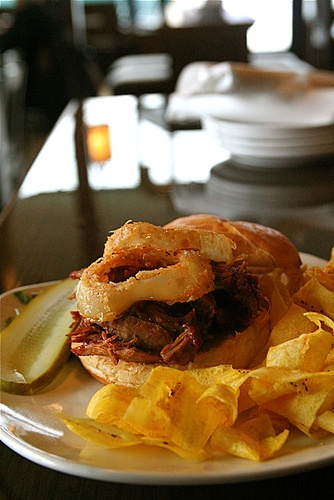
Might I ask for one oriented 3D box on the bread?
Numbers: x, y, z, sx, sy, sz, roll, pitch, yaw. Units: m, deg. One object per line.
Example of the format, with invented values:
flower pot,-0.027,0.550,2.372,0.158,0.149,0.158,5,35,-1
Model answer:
bread,0.018,0.086,0.726,0.355,0.128,0.248,-5,52,-2
